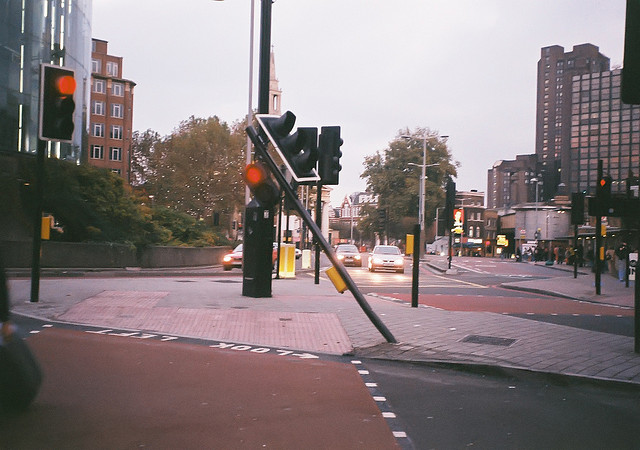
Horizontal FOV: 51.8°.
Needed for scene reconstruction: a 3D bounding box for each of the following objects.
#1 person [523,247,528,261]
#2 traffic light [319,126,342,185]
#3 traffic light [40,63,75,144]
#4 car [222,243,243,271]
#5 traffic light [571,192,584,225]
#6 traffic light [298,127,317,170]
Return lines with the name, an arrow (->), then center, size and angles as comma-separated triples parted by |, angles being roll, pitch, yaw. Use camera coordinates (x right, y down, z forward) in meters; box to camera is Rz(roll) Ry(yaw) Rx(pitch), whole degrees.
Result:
person -> 20.514, 2.841, 65.462 | 0.321, 0.968, 1.217 | 2, 0, 19
traffic light -> 0.152, -1.115, 10.417 | 0.327, 0.910, 0.372 | 2, 1, 0
traffic light -> -5.078, -2.374, 12.704 | 0.635, 1.482, 0.394 | 2, 1, -23
car -> -4.447, 1.705, 33.906 | 1.213, 0.948, 2.612 | 0, -5, 3
traffic light -> 9.533, -0.630, 24.326 | 0.418, 0.961, 1.149 | 2, 0, 20
traffic light -> -0.195, -1.246, 10.335 | 0.315, 0.646, 0.673 | 2, 0, -1
